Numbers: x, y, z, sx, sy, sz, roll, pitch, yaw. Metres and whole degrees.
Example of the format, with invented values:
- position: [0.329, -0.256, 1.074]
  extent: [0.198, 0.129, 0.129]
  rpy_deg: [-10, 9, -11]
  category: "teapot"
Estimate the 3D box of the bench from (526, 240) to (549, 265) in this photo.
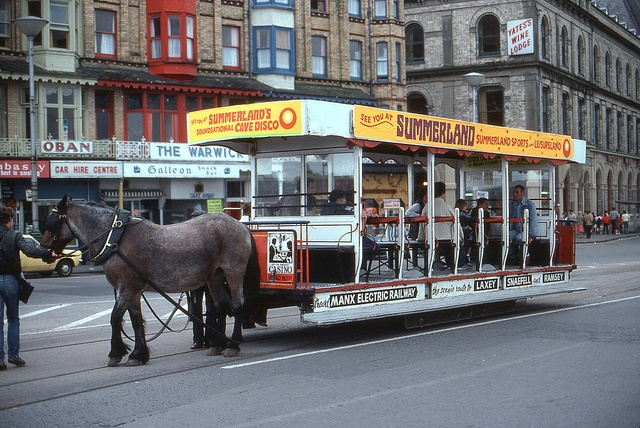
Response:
- position: [6.962, 1.203, 32.189]
  extent: [0.784, 0.770, 0.428]
  rpy_deg: [0, -5, 15]
  category: "bench"

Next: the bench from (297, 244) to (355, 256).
- position: [0.245, 1.014, 28.131]
  extent: [1.406, 0.242, 0.154]
  rpy_deg: [-2, -6, 31]
  category: "bench"

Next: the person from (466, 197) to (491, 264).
- position: [4.978, 0.498, 31.684]
  extent: [0.736, 2.197, 0.735]
  rpy_deg: [3, -2, -12]
  category: "person"

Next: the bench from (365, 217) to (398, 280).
- position: [1.773, 1.049, 30.397]
  extent: [0.907, 1.921, 0.910]
  rpy_deg: [1, 0, -3]
  category: "bench"

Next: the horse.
- position: [-4.493, 1.814, 26.985]
  extent: [6.278, 4.476, 1.721]
  rpy_deg: [0, 1, -29]
  category: "horse"

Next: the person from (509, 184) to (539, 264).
- position: [6.431, 0.332, 31.783]
  extent: [0.784, 2.512, 0.874]
  rpy_deg: [2, 1, -37]
  category: "person"
